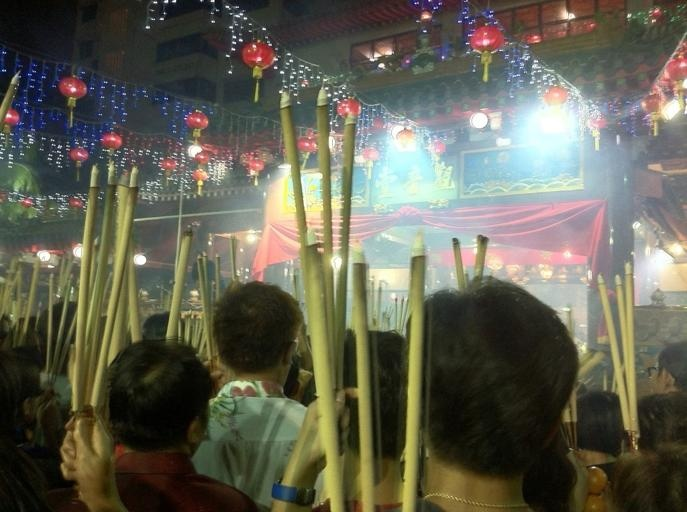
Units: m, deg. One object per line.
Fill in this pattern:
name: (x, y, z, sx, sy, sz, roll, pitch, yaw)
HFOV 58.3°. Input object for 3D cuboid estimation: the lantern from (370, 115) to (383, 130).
lantern: (0.430, -1.694, 7.720, 0.162, 0.172, 0.220, 2, -7, 1)

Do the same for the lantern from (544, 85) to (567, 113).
lantern: (2.190, -1.613, 6.306, 0.187, 0.243, 0.501, -1, -8, 23)

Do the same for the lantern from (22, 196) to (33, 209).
lantern: (-5.773, -0.994, 11.277, 0.196, 0.158, 0.169, -7, 8, -36)

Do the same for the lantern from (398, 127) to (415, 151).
lantern: (0.749, -1.404, 7.451, 0.225, 0.261, 0.219, -13, 19, -39)

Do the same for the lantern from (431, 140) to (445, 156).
lantern: (1.207, -1.385, 7.859, 0.126, 0.173, 0.166, 0, 10, 3)
